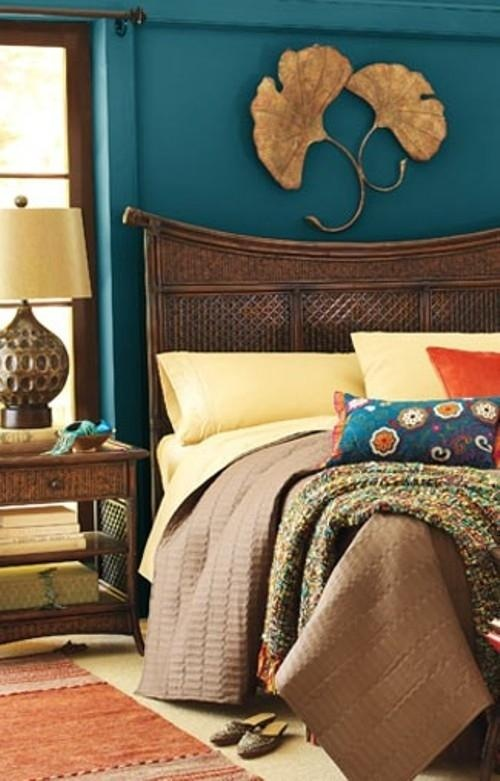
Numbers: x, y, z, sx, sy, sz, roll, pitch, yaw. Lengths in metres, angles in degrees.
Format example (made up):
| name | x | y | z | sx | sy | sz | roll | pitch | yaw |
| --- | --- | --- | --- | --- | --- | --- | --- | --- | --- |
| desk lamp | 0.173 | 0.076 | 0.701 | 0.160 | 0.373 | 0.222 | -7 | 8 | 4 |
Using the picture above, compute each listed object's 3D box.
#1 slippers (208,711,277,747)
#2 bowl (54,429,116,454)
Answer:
| name | x | y | z | sx | sy | sz | roll | pitch | yaw |
| --- | --- | --- | --- | --- | --- | --- | --- | --- | --- |
| slippers | -0.008 | 0.808 | 1.882 | 0.055 | 0.041 | 0.154 | -8 | 2 | 42 |
| bowl | -0.558 | 0.171 | 2.566 | 0.206 | 0.081 | 0.084 | 4 | -5 | -44 |
